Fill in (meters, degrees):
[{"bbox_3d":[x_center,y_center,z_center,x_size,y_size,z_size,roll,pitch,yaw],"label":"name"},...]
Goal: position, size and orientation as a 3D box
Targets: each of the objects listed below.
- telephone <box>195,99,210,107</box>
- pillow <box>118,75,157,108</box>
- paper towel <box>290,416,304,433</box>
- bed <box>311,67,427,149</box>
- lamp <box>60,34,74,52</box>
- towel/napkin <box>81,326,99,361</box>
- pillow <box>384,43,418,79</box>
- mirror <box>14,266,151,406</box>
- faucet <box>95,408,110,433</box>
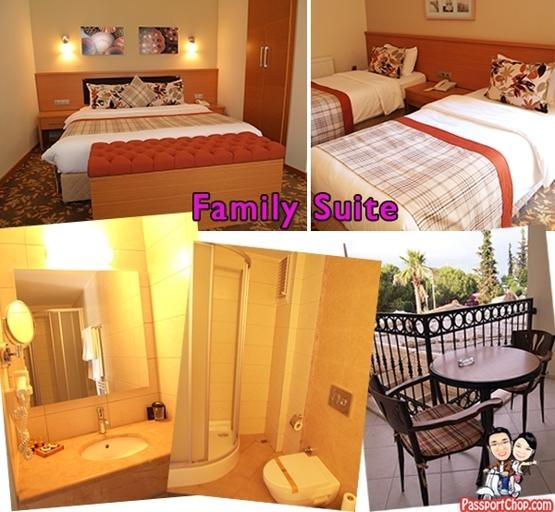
[{"bbox_3d":[-1.162,-2.375,5.584,0.248,0.073,0.174,37,47,26],"label":"telephone"},{"bbox_3d":[-1.957,-2.232,4.996,0.452,0.438,0.107,40,-15,-22],"label":"pillow"},{"bbox_3d":[0.060,0.531,1.158,0.045,0.061,0.006,6,15,30],"label":"paper towel"},{"bbox_3d":[0.447,-0.839,1.955,0.655,0.172,0.422,-21,38,-26],"label":"bed"},{"bbox_3d":[-2.763,-2.765,4.688,0.126,0.174,0.101,-8,15,-25],"label":"lamp"},{"bbox_3d":[-0.818,0.388,1.577,0.038,0.119,0.098,1,-1,3],"label":"towel/napkin"},{"bbox_3d":[0.742,-1.081,2.072,0.198,0.201,0.062,6,17,-2],"label":"pillow"},{"bbox_3d":[-0.847,0.322,1.525,0.661,0.631,0.025,-5,15,-28],"label":"mirror"},{"bbox_3d":[-0.791,0.732,1.622,0.045,0.125,0.030,-10,15,-29],"label":"faucet"}]
